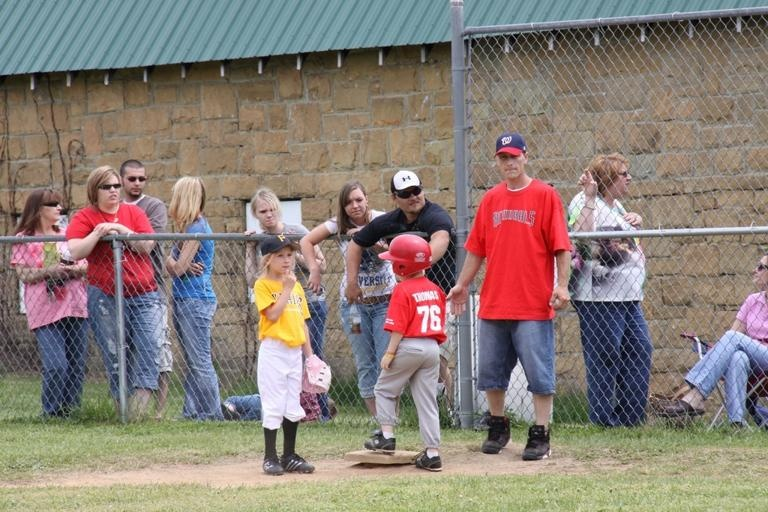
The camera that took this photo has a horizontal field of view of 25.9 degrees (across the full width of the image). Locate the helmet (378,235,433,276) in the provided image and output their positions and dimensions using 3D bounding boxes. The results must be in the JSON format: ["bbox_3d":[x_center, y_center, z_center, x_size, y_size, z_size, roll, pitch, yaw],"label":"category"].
[{"bbox_3d":[0.218,-0.005,17.317,0.489,0.477,0.423,4,10,3],"label":"helmet"}]

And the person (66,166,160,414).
[{"bbox_3d":[-2.996,0.410,18.828,0.964,2.831,0.459,-1,-2,-10],"label":"person"}]

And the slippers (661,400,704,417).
[{"bbox_3d":[3.243,1.711,18.310,0.344,0.163,0.204,3,-5,2],"label":"slippers"}]

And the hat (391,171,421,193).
[{"bbox_3d":[0.227,-0.795,17.741,0.309,0.237,0.269,-2,-2,1],"label":"hat"}]

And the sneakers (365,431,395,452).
[{"bbox_3d":[-0.065,1.939,17.291,0.345,0.227,0.152,4,-1,35],"label":"sneakers"}]

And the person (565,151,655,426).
[{"bbox_3d":[2.475,0.383,18.396,0.854,3.029,0.541,-1,-2,4],"label":"person"}]

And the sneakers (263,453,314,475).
[{"bbox_3d":[-0.972,2.154,17.075,0.518,0.205,0.191,-2,-2,-6],"label":"sneakers"}]

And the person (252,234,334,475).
[{"bbox_3d":[-0.951,1.020,17.274,0.692,2.543,0.728,0,-2,-13],"label":"person"}]

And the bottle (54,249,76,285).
[{"bbox_3d":[-3.608,0.143,19.009,0.261,0.319,0.277,-4,-7,36],"label":"bottle"}]

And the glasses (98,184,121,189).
[{"bbox_3d":[-3.064,-0.787,18.747,0.233,0.074,0.099,-2,-2,-13],"label":"glasses"}]

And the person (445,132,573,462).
[{"bbox_3d":[1.362,0.439,17.499,1.152,3.425,0.413,-2,-2,16],"label":"person"}]

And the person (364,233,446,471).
[{"bbox_3d":[0.252,1.003,17.186,0.747,2.448,0.332,-1,-2,3],"label":"person"}]

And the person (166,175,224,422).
[{"bbox_3d":[-2.155,0.485,19.051,0.610,2.820,0.572,-1,-2,-8],"label":"person"}]

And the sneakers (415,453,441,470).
[{"bbox_3d":[0.447,2.118,17.076,0.109,0.160,0.320,0,3,-27],"label":"sneakers"}]
